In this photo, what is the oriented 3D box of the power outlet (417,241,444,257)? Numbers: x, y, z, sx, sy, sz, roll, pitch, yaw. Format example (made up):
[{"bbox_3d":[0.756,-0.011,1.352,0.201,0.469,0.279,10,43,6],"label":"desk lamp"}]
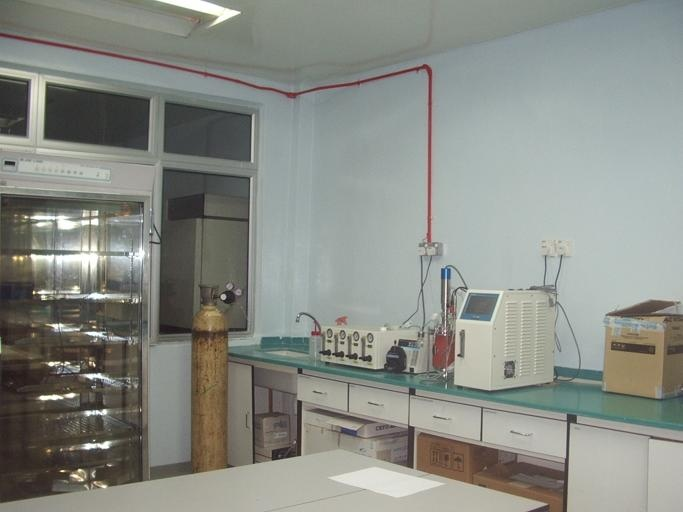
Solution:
[{"bbox_3d":[0.681,-0.052,4.330,0.155,0.088,0.111,-1,-3,44],"label":"power outlet"}]

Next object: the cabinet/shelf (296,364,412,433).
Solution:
[{"bbox_3d":[0.094,0.937,3.775,0.612,0.189,0.322,-1,-4,45],"label":"cabinet/shelf"}]

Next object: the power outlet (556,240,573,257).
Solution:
[{"bbox_3d":[1.463,-0.053,3.721,0.093,0.099,0.051,4,7,29],"label":"power outlet"}]

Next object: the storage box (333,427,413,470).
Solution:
[{"bbox_3d":[0.172,1.318,3.977,0.512,0.262,0.511,17,-22,-29],"label":"storage box"}]
